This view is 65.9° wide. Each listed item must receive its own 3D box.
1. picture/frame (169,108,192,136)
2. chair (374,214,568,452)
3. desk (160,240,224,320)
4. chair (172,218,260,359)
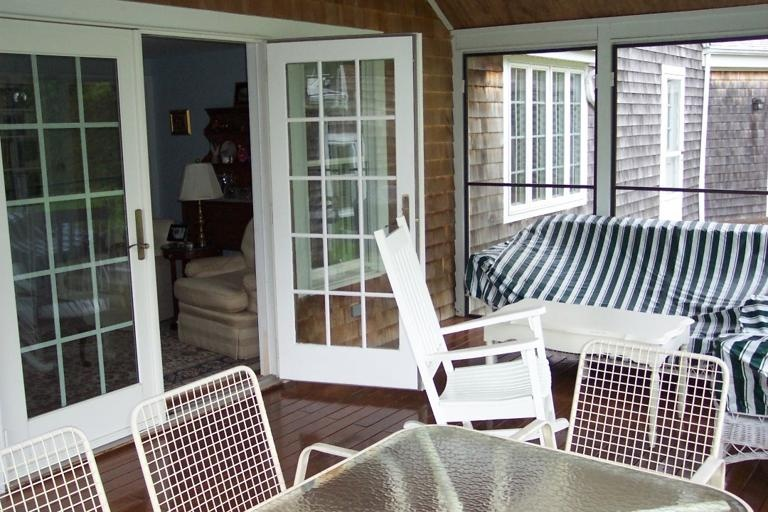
[{"bbox_3d":[-2.464,-1.634,7.234,0.365,0.317,0.050,12,19,27],"label":"picture/frame"},{"bbox_3d":[0.474,0.542,3.446,1.044,1.455,1.079,-3,10,-14],"label":"chair"},{"bbox_3d":[-2.054,0.144,6.302,0.786,0.794,0.731,-2,23,-7],"label":"desk"},{"bbox_3d":[-1.320,0.231,5.699,0.988,1.084,1.118,8,13,24],"label":"chair"}]
